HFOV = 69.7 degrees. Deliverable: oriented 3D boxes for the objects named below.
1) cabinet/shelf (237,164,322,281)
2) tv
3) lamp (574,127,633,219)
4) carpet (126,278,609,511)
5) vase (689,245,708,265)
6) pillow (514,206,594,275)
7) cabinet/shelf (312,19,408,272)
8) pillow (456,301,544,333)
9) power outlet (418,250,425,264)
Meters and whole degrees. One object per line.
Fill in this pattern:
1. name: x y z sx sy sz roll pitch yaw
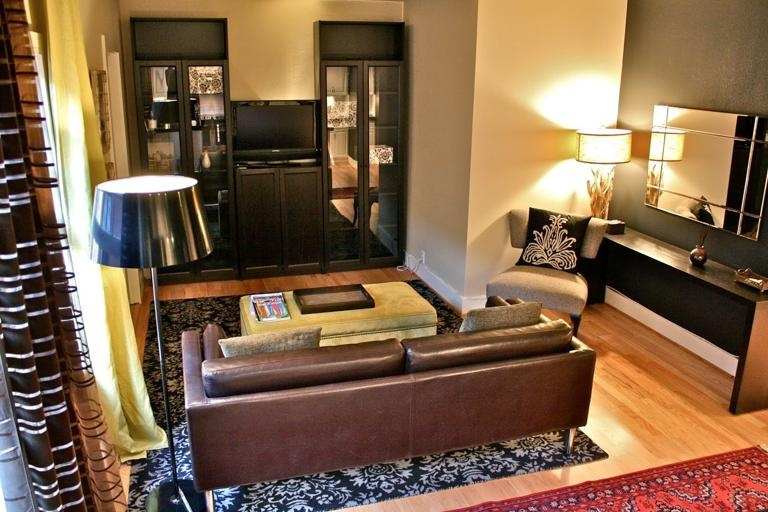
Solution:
1. cabinet/shelf: -1.280 -0.453 6.547 1.309 1.514 0.544 -3 21 -10
2. tv: -1.300 -1.446 6.365 0.869 0.574 0.085 -3 19 -10
3. lamp: 2.265 -0.829 5.722 0.516 0.954 0.623 5 19 23
4. carpet: -0.036 0.999 3.731 2.180 0.687 1.479 -4 23 -11
5. vase: 2.795 -0.007 4.906 0.121 0.178 0.177 7 20 27
6. pillow: 1.656 -0.155 5.466 0.622 0.515 0.309 11 34 18
7. cabinet/shelf: -0.264 -1.301 6.713 1.114 2.916 0.464 -4 18 -5
8. pillow: 0.858 0.443 3.994 0.390 0.139 0.366 -5 11 -1
9. power outlet: 0.461 0.006 6.786 0.030 0.249 0.139 -5 11 -32
